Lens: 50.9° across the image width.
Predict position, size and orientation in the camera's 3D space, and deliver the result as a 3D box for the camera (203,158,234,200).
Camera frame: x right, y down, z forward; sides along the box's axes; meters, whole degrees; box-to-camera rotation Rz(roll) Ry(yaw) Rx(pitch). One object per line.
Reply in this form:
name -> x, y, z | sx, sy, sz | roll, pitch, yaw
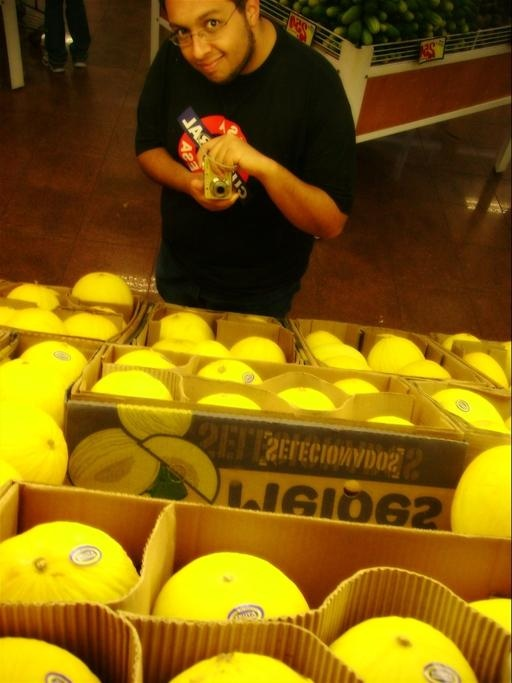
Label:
camera -> -0.119, -0.541, 1.728 | 0.096, 0.160, 0.088 | 8, 48, 4
